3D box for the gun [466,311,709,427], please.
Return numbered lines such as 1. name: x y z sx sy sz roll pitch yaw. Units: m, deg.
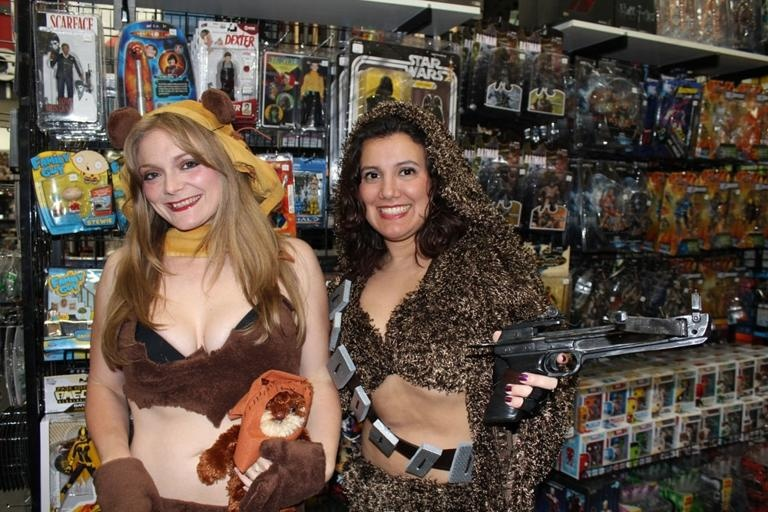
1. gun: 0.934 0.499 3.227 0.947 0.572 0.162 2 9 9
